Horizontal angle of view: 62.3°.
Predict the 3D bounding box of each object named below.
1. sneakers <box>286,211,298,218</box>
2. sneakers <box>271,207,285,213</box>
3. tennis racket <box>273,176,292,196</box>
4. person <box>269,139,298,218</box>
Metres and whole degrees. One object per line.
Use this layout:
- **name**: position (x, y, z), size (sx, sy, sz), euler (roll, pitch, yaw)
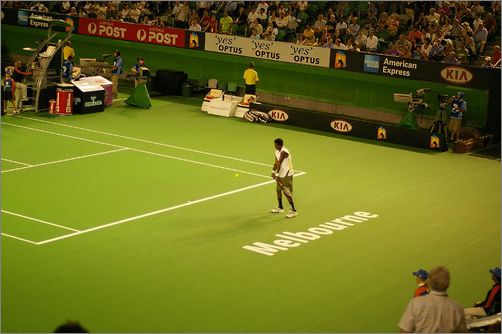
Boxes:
- **sneakers**: position (1.309, 1.497, 13.410), size (0.413, 0.174, 0.155), euler (-5, 17, -34)
- **sneakers**: position (0.869, 1.388, 13.684), size (0.344, 0.147, 0.170), euler (5, 14, -1)
- **tennis racket**: position (1.037, 0.712, 13.327), size (0.513, 0.686, 0.891), euler (3, -10, 8)
- **person**: position (1.081, 0.337, 13.261), size (0.941, 2.491, 0.538), euler (6, 10, -5)
